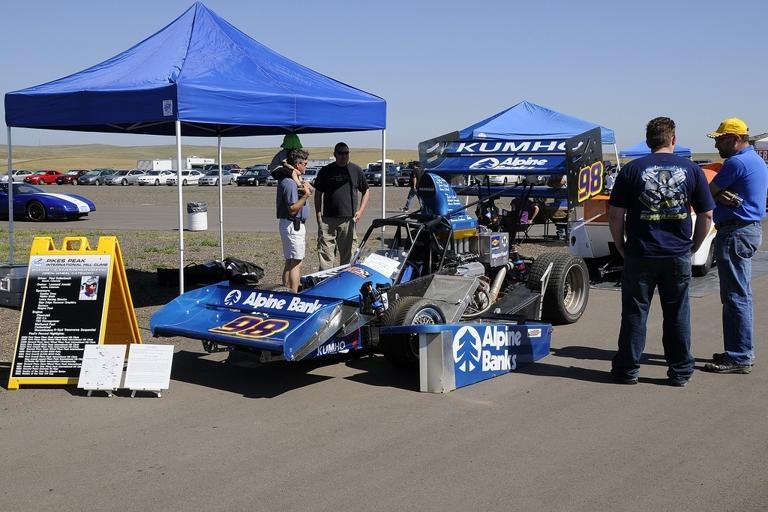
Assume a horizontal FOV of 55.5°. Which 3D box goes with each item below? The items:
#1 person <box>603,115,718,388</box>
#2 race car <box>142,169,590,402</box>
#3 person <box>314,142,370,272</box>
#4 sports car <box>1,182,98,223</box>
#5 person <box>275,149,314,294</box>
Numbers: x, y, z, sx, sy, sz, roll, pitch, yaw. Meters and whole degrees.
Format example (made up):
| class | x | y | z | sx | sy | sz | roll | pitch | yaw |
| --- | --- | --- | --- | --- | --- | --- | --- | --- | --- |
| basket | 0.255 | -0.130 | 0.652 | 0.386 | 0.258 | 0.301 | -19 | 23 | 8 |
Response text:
| class | x | y | z | sx | sy | sz | roll | pitch | yaw |
| --- | --- | --- | --- | --- | --- | --- | --- | --- | --- |
| person | 2.812 | -0.025 | 7.486 | 0.964 | 2.760 | 0.399 | 0 | 4 | 17 |
| race car | 0.249 | 0.138 | 8.650 | 5.049 | 2.342 | 2.528 | -4 | 5 | -36 |
| person | -0.655 | -0.730 | 10.836 | 0.761 | 2.083 | 0.862 | 0 | 1 | -14 |
| sports car | -10.863 | -1.766 | 23.758 | 2.486 | 1.238 | 1.346 | 0 | 4 | 9 |
| person | -1.278 | -0.397 | 10.369 | 0.552 | 2.169 | 0.769 | -2 | 16 | -16 |
